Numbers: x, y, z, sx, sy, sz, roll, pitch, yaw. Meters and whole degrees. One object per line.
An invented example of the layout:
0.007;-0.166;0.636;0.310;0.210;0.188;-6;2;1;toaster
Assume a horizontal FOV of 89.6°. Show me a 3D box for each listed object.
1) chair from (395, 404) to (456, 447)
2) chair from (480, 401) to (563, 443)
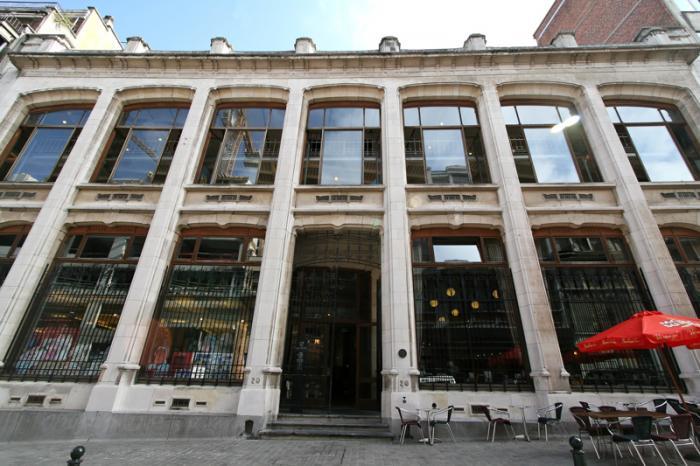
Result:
2.803;7.085;13.002;2.176;1.156;1.689;-2;-25;5;chair
6.556;7.207;13.303;2.250;0.706;0.640;1;-21;0;chair
